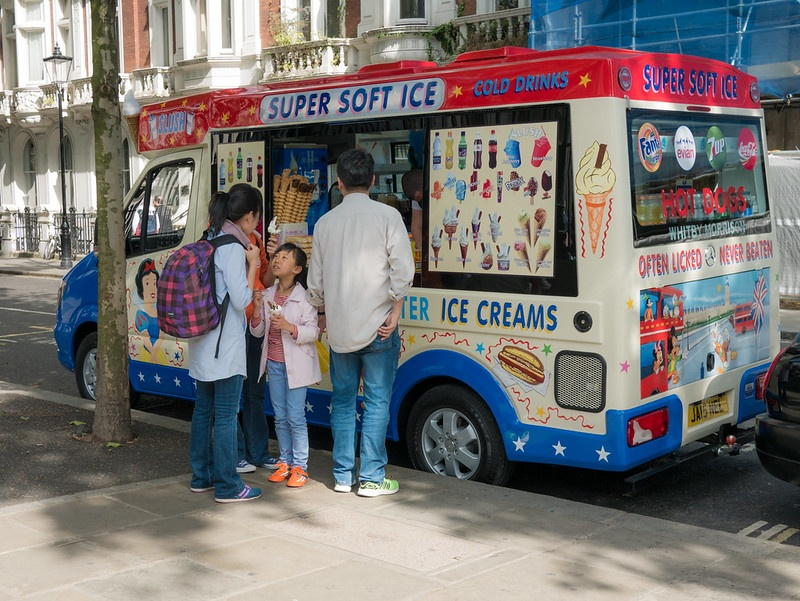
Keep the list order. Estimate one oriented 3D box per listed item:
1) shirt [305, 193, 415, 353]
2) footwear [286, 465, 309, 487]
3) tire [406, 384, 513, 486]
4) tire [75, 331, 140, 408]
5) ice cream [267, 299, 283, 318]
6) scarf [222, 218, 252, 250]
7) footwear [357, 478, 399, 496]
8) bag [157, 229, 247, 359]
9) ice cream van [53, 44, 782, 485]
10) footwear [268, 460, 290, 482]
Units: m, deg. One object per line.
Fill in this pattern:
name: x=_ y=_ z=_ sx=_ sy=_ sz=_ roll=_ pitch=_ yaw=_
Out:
shirt: x=-0.305 y=-0.192 z=5.832 sx=0.831 sy=1.166 sz=0.208 roll=3 pitch=5 yaw=28
footwear: x=-0.772 y=1.334 z=6.116 sx=0.162 sy=0.143 sz=0.170 roll=0 pitch=5 yaw=-9
tire: x=0.502 y=1.067 z=6.279 sx=0.764 sy=0.853 sz=0.254 roll=3 pitch=4 yaw=40
tire: x=-2.830 y=0.669 z=7.822 sx=0.690 sy=0.758 sz=0.247 roll=19 pitch=14 yaw=36
ice cream: x=-0.943 y=0.064 z=6.037 sx=0.085 sy=0.090 sz=0.097 roll=2 pitch=-19 yaw=8
scarf: x=-1.178 y=-0.480 z=5.795 sx=0.190 sy=0.101 sz=0.144 roll=42 pitch=-17 yaw=-32
footwear: x=-0.158 y=1.348 z=5.931 sx=0.290 sy=0.148 sz=0.118 roll=-4 pitch=6 yaw=-33
bag: x=-1.226 y=-0.055 z=5.526 sx=0.459 sy=0.828 sz=0.752 roll=10 pitch=15 yaw=41
ice cream van: x=-0.014 y=-0.436 z=8.156 sx=6.398 sy=3.243 sz=3.366 roll=5 pitch=7 yaw=36
footwear: x=-0.928 y=1.332 z=6.222 sx=0.078 sy=0.109 sz=0.229 roll=1 pitch=-1 yaw=16
